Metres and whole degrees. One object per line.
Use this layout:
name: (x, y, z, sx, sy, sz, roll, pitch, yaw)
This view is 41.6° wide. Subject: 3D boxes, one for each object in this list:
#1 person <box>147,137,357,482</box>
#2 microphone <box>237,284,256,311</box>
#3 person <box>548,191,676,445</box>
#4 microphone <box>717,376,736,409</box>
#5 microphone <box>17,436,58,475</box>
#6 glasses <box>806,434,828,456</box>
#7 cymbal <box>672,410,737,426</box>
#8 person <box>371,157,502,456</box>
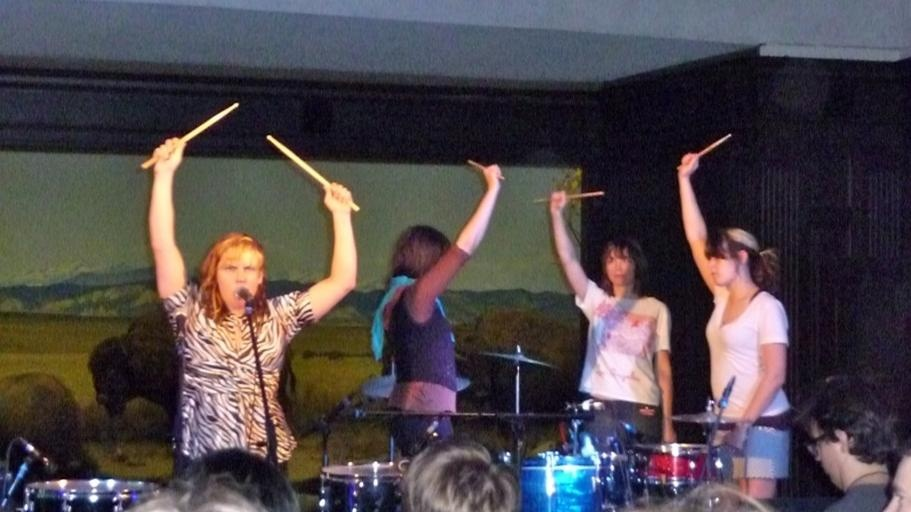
person: (-1.391, 0.305, 8.035, 1.332, 2.204, 0.628, 4, -7, -16)
microphone: (-1.321, 0.269, 7.683, 0.053, 0.157, 0.107, -22, 20, -31)
person: (1.208, 0.430, 9.224, 0.948, 1.926, 0.497, 1, -7, 10)
microphone: (1.916, 0.962, 8.475, 0.075, 0.281, 0.077, 18, 34, -7)
microphone: (-2.887, 1.355, 8.298, 0.238, 0.210, 0.886, 4, -8, -18)
glasses: (2.193, 1.150, 7.340, 0.124, 0.042, 0.126, -22, -16, -16)
cymbal: (1.729, 1.145, 8.519, 0.235, 0.089, 0.239, 0, -5, -7)
person: (-0.132, 0.443, 8.502, 0.664, 1.928, 0.808, 5, -7, -26)
